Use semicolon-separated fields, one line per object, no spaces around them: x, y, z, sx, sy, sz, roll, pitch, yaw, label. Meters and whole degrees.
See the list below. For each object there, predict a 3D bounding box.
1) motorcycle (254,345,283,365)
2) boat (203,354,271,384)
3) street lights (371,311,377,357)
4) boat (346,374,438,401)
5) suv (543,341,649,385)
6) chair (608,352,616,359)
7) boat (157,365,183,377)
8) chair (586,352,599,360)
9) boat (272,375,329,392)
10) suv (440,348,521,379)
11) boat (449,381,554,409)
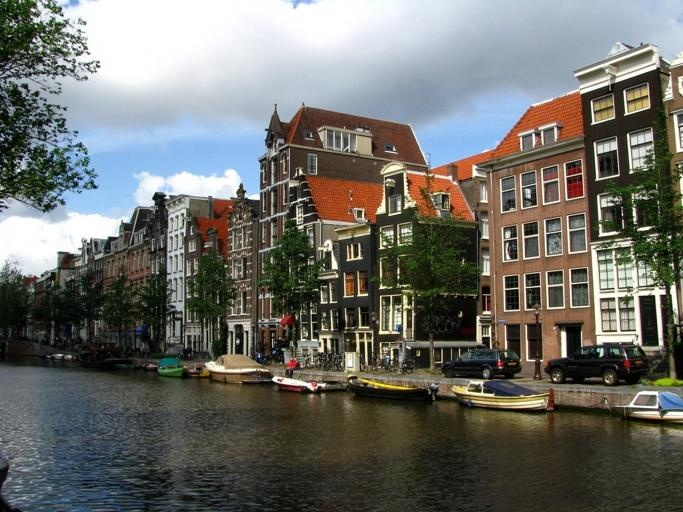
-7.086;9.352;68.199;2.846;1.626;1.595;-5;-10;42;motorcycle
-8.096;8.621;55.210;5.444;2.223;1.980;-9;-13;38;boat
2.498;6.083;57.362;0.475;3.254;0.801;6;-12;-34;street lights
2.919;7.844;42.737;1.599;1.309;6.079;8;-14;-38;boat
13.598;5.826;38.694;2.120;2.197;5.177;8;-14;-40;suv
13.914;5.068;37.093;0.275;0.300;0.301;-3;-3;-24;chair
-15.274;10.225;64.159;1.056;0.745;3.395;7;-14;-37;boat
13.206;5.200;37.851;0.309;0.574;0.572;4;-8;-30;chair
-3.079;8.496;47.793;1.331;0.597;3.440;-2;-1;-38;boat
8.506;6.466;43.818;4.005;1.450;1.872;-3;-8;44;suv
8.099;7.155;36.470;3.412;1.593;4.324;-10;-10;37;boat
